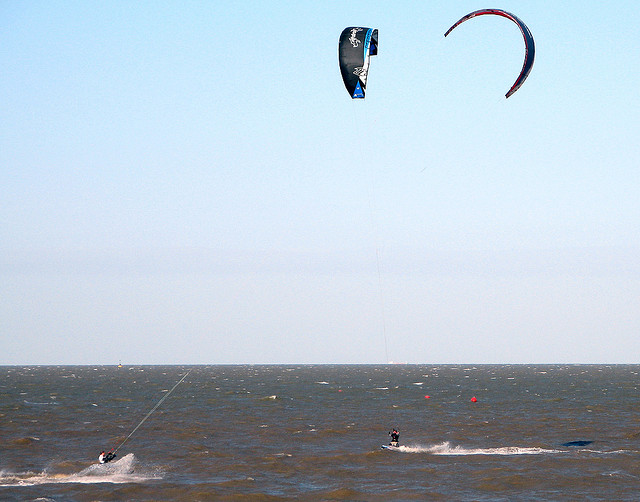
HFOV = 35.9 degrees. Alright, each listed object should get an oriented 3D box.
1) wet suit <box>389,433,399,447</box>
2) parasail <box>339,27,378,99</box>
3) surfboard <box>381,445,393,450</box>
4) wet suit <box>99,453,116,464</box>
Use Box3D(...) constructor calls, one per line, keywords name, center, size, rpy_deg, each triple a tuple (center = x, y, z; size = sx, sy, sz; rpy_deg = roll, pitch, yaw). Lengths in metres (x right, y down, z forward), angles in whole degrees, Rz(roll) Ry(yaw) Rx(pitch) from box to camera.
Box3D(name="wet suit", center=(6.761, 17.350, 89.375), size=(0.807, 1.164, 1.548), rpy_deg=(0, -29, 3))
Box3D(name="parasail", center=(2.956, -15.408, 79.893), size=(2.566, 5.980, 3.152), rpy_deg=(12, -32, -16))
Box3D(name="surfboard", center=(5.886, 17.800, 88.987), size=(0.628, 0.211, 0.223), rpy_deg=(28, -51, 12))
Box3D(name="wet suit", center=(-17.779, 17.516, 82.749), size=(0.844, 1.104, 0.455), rpy_deg=(26, -43, 39))
